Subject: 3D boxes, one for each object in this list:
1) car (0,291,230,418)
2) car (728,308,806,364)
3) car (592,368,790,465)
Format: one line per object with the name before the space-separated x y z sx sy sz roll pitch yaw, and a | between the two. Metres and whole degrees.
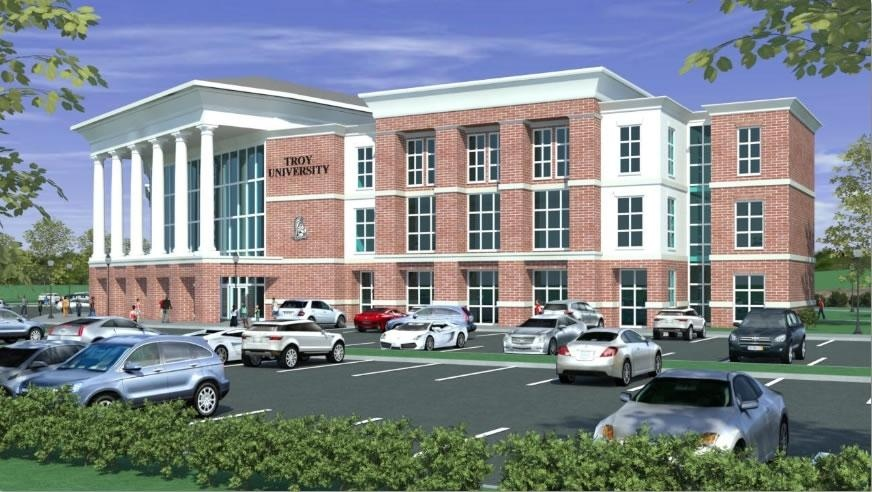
car | -9.970 4.131 26.313 6.440 2.146 2.890 9 -12 -43
car | 15.231 4.136 37.431 3.642 2.504 2.232 3 -6 -39
car | 7.124 4.580 21.747 4.982 2.369 2.495 -1 -4 4
